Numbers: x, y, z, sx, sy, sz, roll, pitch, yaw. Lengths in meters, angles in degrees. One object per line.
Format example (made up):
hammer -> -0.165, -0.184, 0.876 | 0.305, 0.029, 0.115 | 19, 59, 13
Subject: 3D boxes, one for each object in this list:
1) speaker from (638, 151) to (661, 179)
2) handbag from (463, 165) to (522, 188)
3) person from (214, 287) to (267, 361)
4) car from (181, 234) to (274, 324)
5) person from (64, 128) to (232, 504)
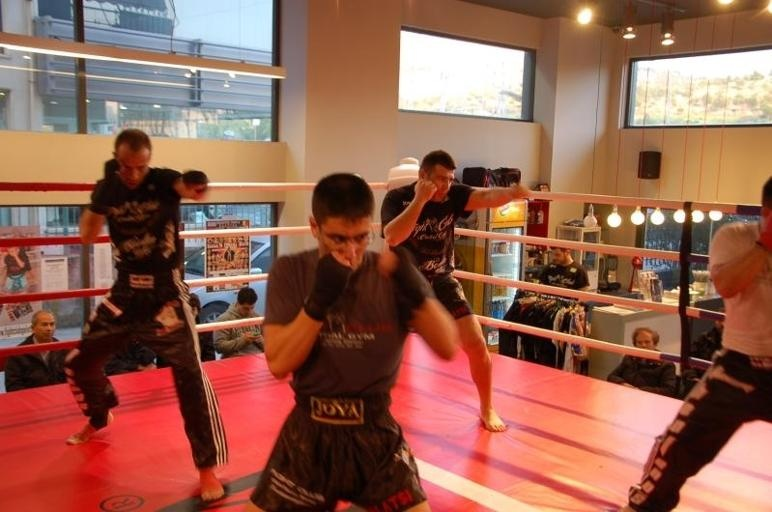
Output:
speaker -> 4.661, -1.608, 9.908 | 0.454, 0.578, 0.325 | 1, 9, 7
handbag -> 1.771, -1.297, 9.240 | 0.793, 0.256, 0.558 | -1, 4, -32
person -> -1.306, 0.709, 5.140 | 0.496, 0.766, 0.411 | 7, -19, -41
car -> -2.259, 0.281, 7.737 | 1.136, 0.966, 1.889 | 5, 4, 43
person -> -1.131, 0.256, 2.791 | 0.903, 1.716, 0.365 | 4, 10, 22
